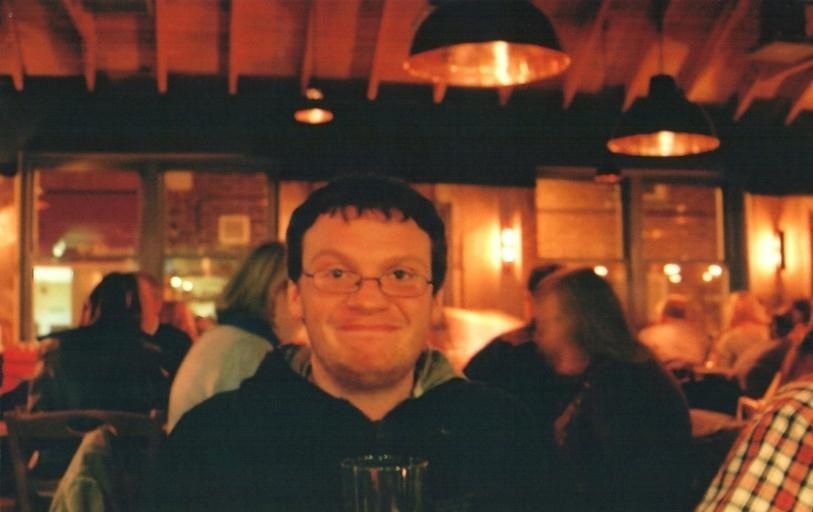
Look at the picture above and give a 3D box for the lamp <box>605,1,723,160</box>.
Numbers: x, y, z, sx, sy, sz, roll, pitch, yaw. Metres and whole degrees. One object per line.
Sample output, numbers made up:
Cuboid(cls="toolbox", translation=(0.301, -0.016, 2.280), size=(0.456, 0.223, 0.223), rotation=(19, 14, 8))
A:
Cuboid(cls="lamp", translation=(1.494, -1.017, 5.736), size=(0.696, 0.798, 0.654), rotation=(1, 7, -8))
